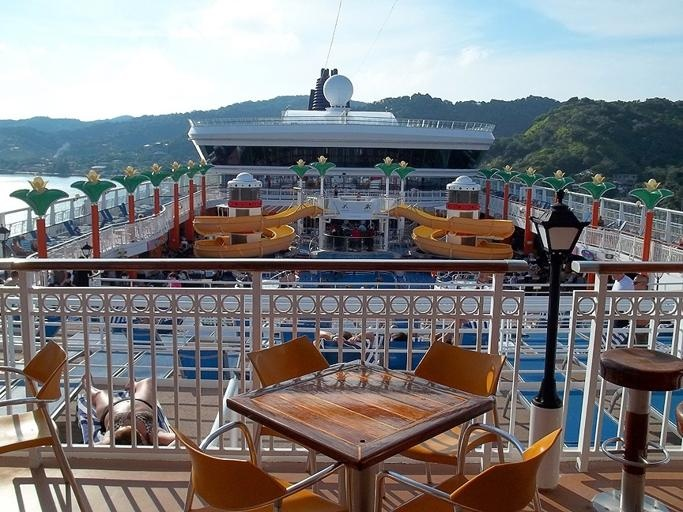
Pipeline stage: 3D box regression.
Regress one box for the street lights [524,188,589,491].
[{"bbox_3d":[1.609,0.643,4.876,0.442,2.267,0.482,-2,3,18],"label":"street lights"}]
